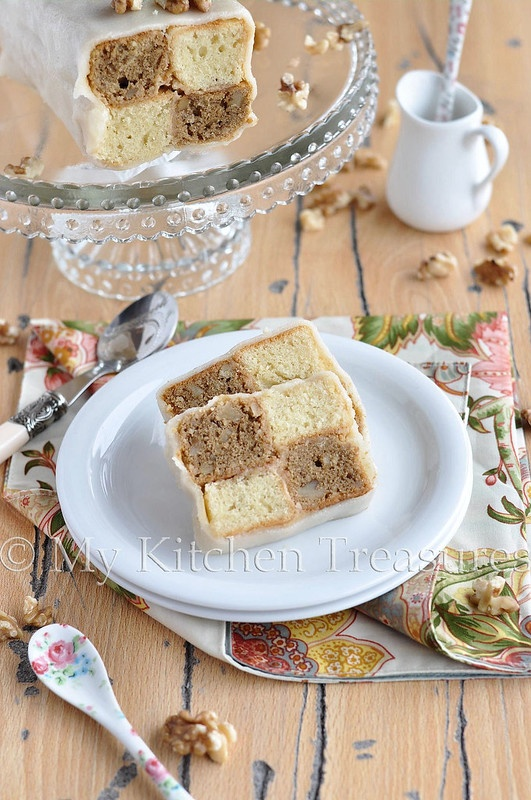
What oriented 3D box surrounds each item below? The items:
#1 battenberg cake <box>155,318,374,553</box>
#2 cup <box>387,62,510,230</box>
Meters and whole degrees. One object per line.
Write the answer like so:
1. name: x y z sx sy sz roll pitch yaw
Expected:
1. battenberg cake: -0.014 0.031 0.877 0.270 0.068 0.254 5 90 -26
2. cup: 0.295 -0.394 1.287 0.152 0.220 0.226 -33 54 -18
